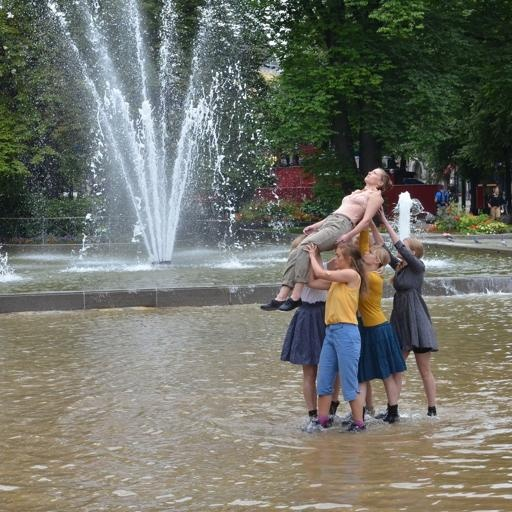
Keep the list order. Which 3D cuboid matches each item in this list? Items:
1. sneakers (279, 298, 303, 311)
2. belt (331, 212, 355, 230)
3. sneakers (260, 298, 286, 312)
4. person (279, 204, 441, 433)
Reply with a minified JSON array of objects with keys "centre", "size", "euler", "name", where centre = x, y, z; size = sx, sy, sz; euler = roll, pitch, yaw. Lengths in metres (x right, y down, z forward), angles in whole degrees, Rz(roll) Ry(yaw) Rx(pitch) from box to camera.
[{"centre":[0.241,0.371,5.589],"size":[0.073,0.071,0.194],"euler":[22,24,33],"name":"sneakers"},{"centre":[0.643,-0.250,5.882],"size":[0.185,0.124,0.128],"euler":[19,44,39],"name":"belt"},{"centre":[0.122,0.376,5.753],"size":[0.214,0.075,0.078],"euler":[-2,6,-12],"name":"sneakers"},{"centre":[0.911,0.446,5.840],"size":[0.979,1.289,0.687],"euler":[-3,1,-43],"name":"person"}]
